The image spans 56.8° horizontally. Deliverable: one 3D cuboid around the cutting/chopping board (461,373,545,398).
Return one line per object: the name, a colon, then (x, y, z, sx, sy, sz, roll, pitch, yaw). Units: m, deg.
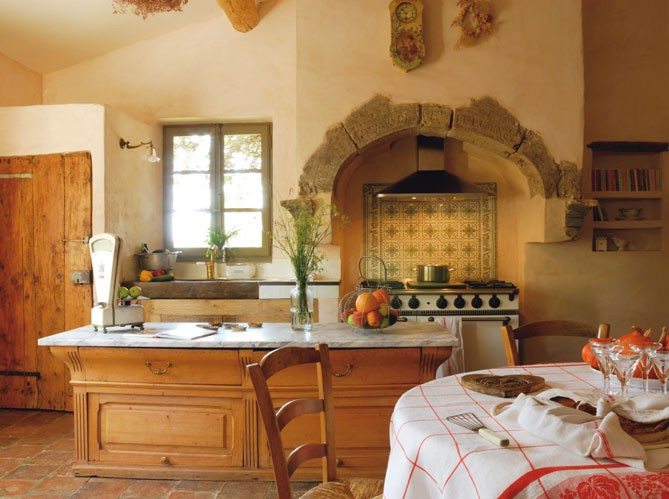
cutting/chopping board: (0.865, 0.685, 3.267, 0.374, 0.085, 0.323, 5, 2, -8)

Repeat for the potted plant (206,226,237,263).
potted plant: (-1.258, -0.046, 6.431, 0.414, 0.347, 0.338, 0, 1, -26)

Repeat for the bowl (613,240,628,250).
bowl: (2.752, -0.050, 5.964, 0.116, 0.120, 0.058, 0, 1, -14)

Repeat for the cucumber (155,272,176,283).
cucumber: (-1.586, 0.267, 5.823, 0.149, 0.046, 0.070, -5, 1, -21)

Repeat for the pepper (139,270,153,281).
pepper: (-1.741, 0.245, 5.816, 0.097, 0.081, 0.119, 0, -4, 11)

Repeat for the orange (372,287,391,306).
orange: (0.310, 0.311, 4.082, 0.117, 0.117, 0.109, 6, -15, -23)

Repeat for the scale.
scale: (-1.460, 0.223, 4.223, 0.340, 0.654, 0.226, -1, 1, -29)

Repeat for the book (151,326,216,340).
book: (-0.970, 0.552, 4.068, 0.349, 0.041, 0.251, 0, 0, 17)

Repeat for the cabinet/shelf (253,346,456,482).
cabinet/shelf: (0.114, 0.996, 4.346, 1.668, 0.923, 0.860, 0, -5, 2)

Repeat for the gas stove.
gas stove: (1.092, 0.455, 5.768, 0.932, 0.234, 0.506, -1, -3, 2)

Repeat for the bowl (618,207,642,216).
bowl: (2.861, -0.357, 6.005, 0.157, 0.047, 0.102, 1, -1, 14)

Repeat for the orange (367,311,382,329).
orange: (0.260, 0.450, 3.980, 0.080, 0.109, 0.051, 0, 1, 33)

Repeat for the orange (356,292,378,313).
orange: (0.223, 0.336, 3.977, 0.138, 0.114, 0.130, -2, -8, 32)

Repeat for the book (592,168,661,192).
book: (2.814, -0.668, 5.965, 0.697, 0.216, 0.284, 2, -11, 7)

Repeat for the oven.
oven: (1.341, 0.843, 5.773, 0.707, 0.564, 0.484, 2, 4, -2)

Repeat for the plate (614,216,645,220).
plate: (2.832, -0.294, 5.935, 0.290, 0.037, 0.176, 0, 0, 9)
